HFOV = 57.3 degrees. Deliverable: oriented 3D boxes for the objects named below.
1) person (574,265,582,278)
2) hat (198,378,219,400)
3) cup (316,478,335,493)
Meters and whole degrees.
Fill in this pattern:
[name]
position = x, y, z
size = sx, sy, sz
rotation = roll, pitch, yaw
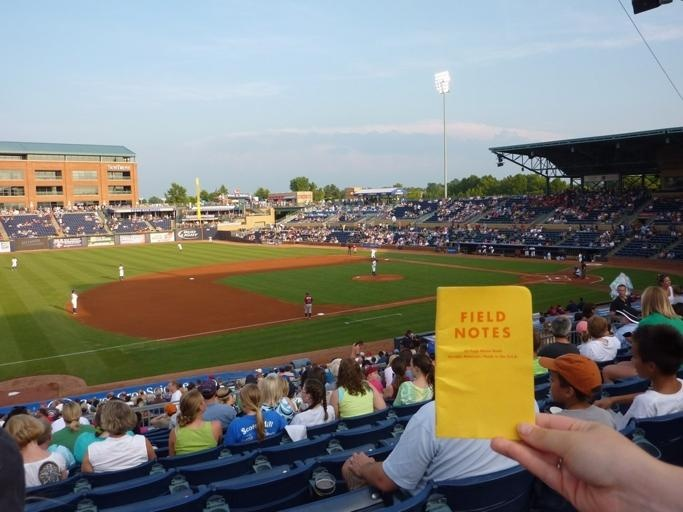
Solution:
[person]
position = 14.096, 0.964, 37.290
size = 0.408, 0.813, 0.349
rotation = 6, -22, 26
[hat]
position = -2.004, 2.006, 9.443
size = 0.271, 0.273, 0.315
rotation = -1, 7, -9
[cup]
position = -0.179, 2.437, 6.573
size = 0.206, 0.164, 0.143
rotation = -3, 4, 6
